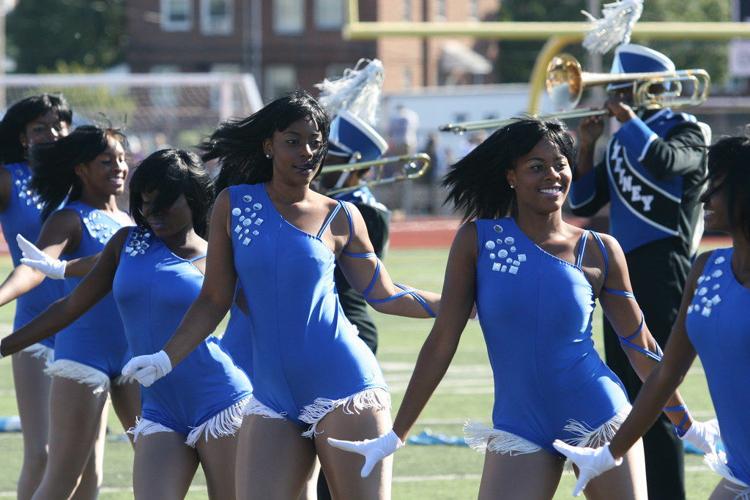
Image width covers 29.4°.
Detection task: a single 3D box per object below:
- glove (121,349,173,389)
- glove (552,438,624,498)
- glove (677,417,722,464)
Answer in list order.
[{"bbox_3d":[-1.331,0.700,8.408,0.285,0.243,0.259,-1,7,-10],"label":"glove"},{"bbox_3d":[1.221,1.170,8.187,0.421,0.328,0.323,-4,9,-13],"label":"glove"},{"bbox_3d":[2.016,1.111,8.395,0.508,0.213,0.173,8,-23,-44],"label":"glove"}]
